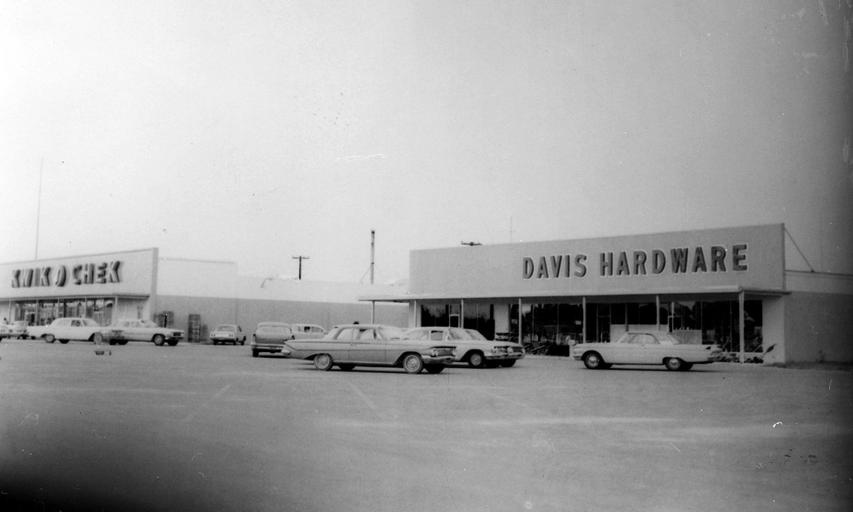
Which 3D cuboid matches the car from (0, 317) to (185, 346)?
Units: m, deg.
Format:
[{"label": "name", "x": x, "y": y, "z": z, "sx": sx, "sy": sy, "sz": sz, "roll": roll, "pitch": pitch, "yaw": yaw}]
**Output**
[{"label": "car", "x": -17.308, "y": 4.106, "z": 36.518, "sx": 8.625, "sy": 1.280, "sz": 1.652, "roll": -1, "pitch": 0, "yaw": 12}]
